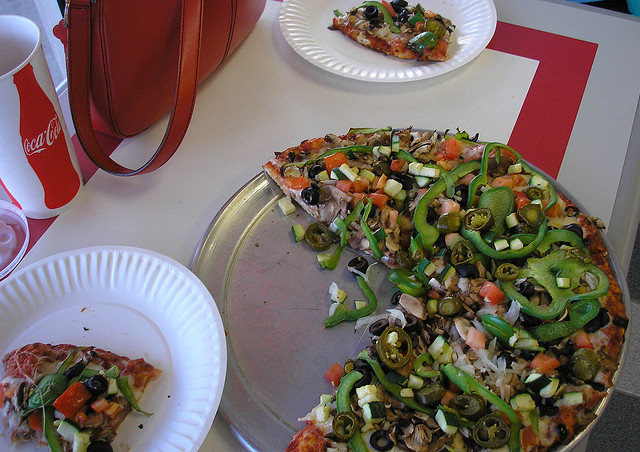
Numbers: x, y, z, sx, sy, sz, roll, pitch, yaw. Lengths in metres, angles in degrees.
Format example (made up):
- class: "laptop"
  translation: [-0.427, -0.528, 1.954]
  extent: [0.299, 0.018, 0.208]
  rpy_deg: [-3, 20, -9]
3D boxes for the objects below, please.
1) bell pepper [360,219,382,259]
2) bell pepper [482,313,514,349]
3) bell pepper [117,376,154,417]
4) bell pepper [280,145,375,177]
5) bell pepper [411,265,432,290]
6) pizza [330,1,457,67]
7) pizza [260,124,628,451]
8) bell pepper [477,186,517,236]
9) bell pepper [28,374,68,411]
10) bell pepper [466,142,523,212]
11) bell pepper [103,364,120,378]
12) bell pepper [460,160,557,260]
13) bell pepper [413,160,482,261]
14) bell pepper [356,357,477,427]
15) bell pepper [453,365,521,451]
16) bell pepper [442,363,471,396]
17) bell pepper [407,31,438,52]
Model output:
- class: "bell pepper"
  translation: [0.205, 0.054, 2.196]
  extent: [0.044, 0.046, 0.201]
  rpy_deg: [77, -7, -71]
- class: "bell pepper"
  translation: [0.634, 0.367, 1.947]
  extent: [0.128, 0.074, 0.031]
  rpy_deg: [54, 4, 25]
- class: "bell pepper"
  translation: [-0.639, 0.573, 1.837]
  extent: [0.018, 0.041, 0.147]
  rpy_deg: [13, -51, 61]
- class: "bell pepper"
  translation: [0.043, -0.277, 2.357]
  extent: [0.039, 0.233, 0.045]
  rpy_deg: [64, 6, -4]
- class: "bell pepper"
  translation: [0.391, 0.198, 2.116]
  extent: [0.088, 0.022, 0.064]
  rpy_deg: [52, -15, 24]
- class: "pizza"
  translation: [0.366, -1.011, 2.782]
  extent: [0.566, 0.365, 0.103]
  rpy_deg: [25, -26, 19]
- class: "pizza"
  translation: [0.485, 0.263, 2.263]
  extent: [0.969, 1.295, 0.213]
  rpy_deg: [-2, -26, 2]
- class: "bell pepper"
  translation: [0.695, -0.041, 2.139]
  extent: [0.121, 0.194, 0.047]
  rpy_deg: [4, -12, 30]
- class: "bell pepper"
  translation: [-0.900, 0.546, 1.813]
  extent: [0.072, 0.121, 0.028]
  rpy_deg: [32, -21, 6]
- class: "bell pepper"
  translation: [0.675, -0.226, 2.248]
  extent: [0.211, 0.257, 0.264]
  rpy_deg: [25, -54, 37]
- class: "bell pepper"
  translation: [-0.716, 0.504, 1.877]
  extent: [0.035, 0.045, 0.016]
  rpy_deg: [44, -16, 31]
- class: "bell pepper"
  translation: [0.734, -0.100, 2.160]
  extent: [0.343, 0.294, 0.318]
  rpy_deg: [34, -48, 47]
- class: "bell pepper"
  translation: [0.490, -0.100, 2.309]
  extent: [0.323, 0.356, 0.263]
  rpy_deg: [-4, 28, -10]
- class: "bell pepper"
  translation: [0.334, 0.585, 1.889]
  extent: [0.310, 0.049, 0.037]
  rpy_deg: [38, 5, 15]
- class: "bell pepper"
  translation: [0.551, 0.589, 1.894]
  extent: [0.373, 0.084, 0.060]
  rpy_deg: [48, -43, 16]
- class: "bell pepper"
  translation: [0.468, 0.523, 1.911]
  extent: [0.129, 0.041, 0.042]
  rpy_deg: [46, -9, 27]
- class: "bell pepper"
  translation: [0.503, -0.913, 2.681]
  extent: [0.140, 0.081, 0.076]
  rpy_deg: [26, -9, 11]
